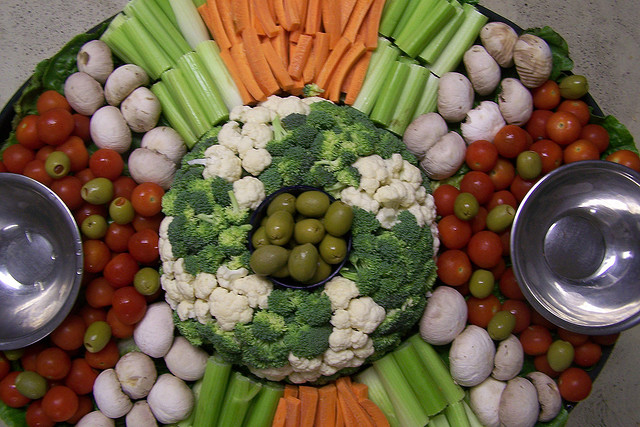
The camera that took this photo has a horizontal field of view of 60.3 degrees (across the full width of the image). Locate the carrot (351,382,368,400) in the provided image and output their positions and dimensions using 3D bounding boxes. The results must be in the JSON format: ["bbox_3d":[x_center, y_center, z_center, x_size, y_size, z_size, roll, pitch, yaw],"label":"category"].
[{"bbox_3d":[0.210,0.936,2.936,0.077,0.076,0.076,-8,118,-5],"label":"carrot"}]

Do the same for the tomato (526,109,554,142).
[{"bbox_3d":[1.195,-0.483,3.021,0.156,0.156,0.155,0,94,9],"label":"tomato"}]

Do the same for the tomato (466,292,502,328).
[{"bbox_3d":[0.896,0.527,3.027,0.203,0.206,0.175,-1,91,41],"label":"tomato"}]

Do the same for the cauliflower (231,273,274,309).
[{"bbox_3d":[-0.314,0.368,2.739,0.172,0.053,0.173,-2,102,0],"label":"cauliflower"}]

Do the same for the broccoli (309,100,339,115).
[{"bbox_3d":[0.019,-0.562,2.885,0.092,0.088,0.030,3,125,2],"label":"broccoli"}]

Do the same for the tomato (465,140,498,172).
[{"bbox_3d":[0.883,-0.314,3.026,0.190,0.183,0.187,4,84,21],"label":"tomato"}]

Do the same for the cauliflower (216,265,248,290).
[{"bbox_3d":[-0.435,0.311,2.704,0.136,0.064,0.102,-21,89,20],"label":"cauliflower"}]

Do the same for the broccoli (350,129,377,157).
[{"bbox_3d":[0.220,-0.374,2.820,0.112,0.052,0.164,-26,83,-5],"label":"broccoli"}]

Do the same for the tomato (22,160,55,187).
[{"bbox_3d":[-1.486,-0.218,2.929,0.137,0.138,0.166,-1,96,5],"label":"tomato"}]

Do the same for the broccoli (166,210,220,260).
[{"bbox_3d":[-0.631,0.109,2.801,0.236,0.129,0.231,-16,77,-3],"label":"broccoli"}]

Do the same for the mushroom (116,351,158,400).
[{"bbox_3d":[-0.979,0.829,3.006,0.271,0.151,0.247,-2,37,-8],"label":"mushroom"}]

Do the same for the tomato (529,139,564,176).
[{"bbox_3d":[1.223,-0.316,3.038,0.177,0.177,0.175,-8,82,2],"label":"tomato"}]

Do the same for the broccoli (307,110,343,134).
[{"bbox_3d":[0.034,-0.485,2.848,0.161,0.110,0.058,37,84,27],"label":"broccoli"}]

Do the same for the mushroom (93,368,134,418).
[{"bbox_3d":[-1.097,0.962,2.980,0.216,0.127,0.228,-17,90,38],"label":"mushroom"}]

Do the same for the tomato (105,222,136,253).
[{"bbox_3d":[-1.074,0.118,2.983,0.146,0.147,0.177,9,96,16],"label":"tomato"}]

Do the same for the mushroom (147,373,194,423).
[{"bbox_3d":[-0.793,0.996,2.973,0.239,0.131,0.240,11,89,6],"label":"mushroom"}]

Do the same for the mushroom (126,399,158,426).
[{"bbox_3d":[-0.948,1.078,2.993,0.127,0.066,0.128,-12,72,9],"label":"mushroom"}]

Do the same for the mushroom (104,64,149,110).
[{"bbox_3d":[-1.050,-0.712,3.040,0.112,0.229,0.227,45,106,20],"label":"mushroom"}]

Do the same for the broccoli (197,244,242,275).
[{"bbox_3d":[-0.503,0.204,2.758,0.137,0.073,0.167,36,100,4],"label":"broccoli"}]

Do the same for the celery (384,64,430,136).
[{"bbox_3d":[0.484,-0.618,3.137,0.165,0.151,0.511,14,102,-15],"label":"celery"}]

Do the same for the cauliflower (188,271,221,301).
[{"bbox_3d":[-0.574,0.356,2.741,0.133,0.039,0.127,8,95,20],"label":"cauliflower"}]

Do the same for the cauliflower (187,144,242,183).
[{"bbox_3d":[-0.520,-0.261,2.771,0.207,0.102,0.159,5,84,23],"label":"cauliflower"}]

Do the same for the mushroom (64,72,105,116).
[{"bbox_3d":[-1.285,-0.653,3.014,0.178,0.127,0.228,-1,102,8],"label":"mushroom"}]

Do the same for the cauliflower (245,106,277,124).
[{"bbox_3d":[-0.304,-0.514,2.878,0.164,0.059,0.104,-10,82,-3],"label":"cauliflower"}]

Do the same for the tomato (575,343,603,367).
[{"bbox_3d":[1.452,0.763,2.981,0.122,0.119,0.124,1,94,10],"label":"tomato"}]

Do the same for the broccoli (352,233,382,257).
[{"bbox_3d":[0.228,0.156,2.696,0.131,0.031,0.119,-5,81,-2],"label":"broccoli"}]

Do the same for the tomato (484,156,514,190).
[{"bbox_3d":[0.989,-0.222,3.073,0.159,0.161,0.160,4,82,18],"label":"tomato"}]

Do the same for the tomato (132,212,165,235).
[{"bbox_3d":[-0.931,0.054,2.984,0.119,0.119,0.116,0,85,-16],"label":"tomato"}]

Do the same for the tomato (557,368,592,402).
[{"bbox_3d":[1.363,0.902,3.013,0.168,0.180,0.174,7,99,36],"label":"tomato"}]

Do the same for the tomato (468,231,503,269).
[{"bbox_3d":[0.878,0.185,2.929,0.182,0.091,0.184,40,82,5],"label":"tomato"}]

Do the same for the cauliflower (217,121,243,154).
[{"bbox_3d":[-0.459,-0.403,2.830,0.133,0.059,0.162,12,81,0],"label":"cauliflower"}]

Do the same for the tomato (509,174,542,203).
[{"bbox_3d":[1.088,-0.147,2.984,0.150,0.150,0.182,7,106,11],"label":"tomato"}]

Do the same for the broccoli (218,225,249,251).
[{"bbox_3d":[-0.422,0.123,2.747,0.122,0.062,0.122,30,83,9],"label":"broccoli"}]

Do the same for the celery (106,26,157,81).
[{"bbox_3d":[-1.030,-0.892,3.059,0.107,0.107,0.362,-44,91,5],"label":"celery"}]

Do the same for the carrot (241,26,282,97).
[{"bbox_3d":[-0.352,-0.776,3.013,0.347,0.100,0.068,-43,88,21],"label":"carrot"}]

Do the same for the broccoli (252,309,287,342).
[{"bbox_3d":[-0.237,0.550,2.693,0.149,0.045,0.148,21,98,0],"label":"broccoli"}]

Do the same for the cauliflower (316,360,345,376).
[{"bbox_3d":[0.044,0.795,2.817,0.097,0.098,0.039,-14,74,1],"label":"cauliflower"}]

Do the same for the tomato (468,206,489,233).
[{"bbox_3d":[0.854,0.038,3.013,0.113,0.113,0.110,-25,97,10],"label":"tomato"}]

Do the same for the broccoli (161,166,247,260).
[{"bbox_3d":[-0.589,-0.013,2.747,0.428,0.178,0.441,-35,77,8],"label":"broccoli"}]

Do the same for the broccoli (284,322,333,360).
[{"bbox_3d":[-0.055,0.629,2.722,0.236,0.077,0.183,1,81,-2],"label":"broccoli"}]

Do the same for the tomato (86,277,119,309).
[{"bbox_3d":[-1.168,0.423,2.944,0.147,0.151,0.175,-2,85,3],"label":"tomato"}]

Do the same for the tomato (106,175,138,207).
[{"bbox_3d":[-1.033,-0.132,2.994,0.149,0.154,0.178,1,93,2],"label":"tomato"}]

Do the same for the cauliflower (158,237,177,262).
[{"bbox_3d":[-0.777,0.184,2.827,0.040,0.088,0.124,-1,89,-42],"label":"cauliflower"}]

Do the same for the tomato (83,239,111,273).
[{"bbox_3d":[-1.176,0.219,2.933,0.158,0.158,0.183,2,96,8],"label":"tomato"}]

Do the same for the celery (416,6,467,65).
[{"bbox_3d":[0.676,-1.005,3.053,0.100,0.128,0.385,43,89,-18],"label":"celery"}]

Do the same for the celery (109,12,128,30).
[{"bbox_3d":[-1.138,-1.092,3.118,0.086,0.029,0.103,42,90,-3],"label":"celery"}]

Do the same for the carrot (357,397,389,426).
[{"bbox_3d":[0.293,1.041,2.950,0.047,0.151,0.158,-45,109,-36],"label":"carrot"}]

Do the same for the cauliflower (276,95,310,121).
[{"bbox_3d":[-0.148,-0.563,2.934,0.138,0.054,0.137,-16,81,-2],"label":"cauliflower"}]

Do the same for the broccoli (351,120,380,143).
[{"bbox_3d":[0.252,-0.443,2.875,0.124,0.122,0.038,23,126,-25],"label":"broccoli"}]

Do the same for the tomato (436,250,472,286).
[{"bbox_3d":[0.699,0.277,2.935,0.179,0.180,0.180,-1,99,5],"label":"tomato"}]

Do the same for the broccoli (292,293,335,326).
[{"bbox_3d":[-0.023,0.464,2.666,0.154,0.044,0.161,23,86,-2],"label":"broccoli"}]

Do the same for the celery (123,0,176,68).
[{"bbox_3d":[-0.940,-0.998,3.065,0.108,0.079,0.467,-42,91,-9],"label":"celery"}]

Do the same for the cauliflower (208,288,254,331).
[{"bbox_3d":[-0.437,0.466,2.713,0.199,0.060,0.201,-15,102,16],"label":"cauliflower"}]

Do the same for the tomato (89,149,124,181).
[{"bbox_3d":[-1.130,-0.262,3.016,0.175,0.162,0.170,-3,89,6],"label":"tomato"}]

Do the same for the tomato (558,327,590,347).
[{"bbox_3d":[1.364,0.673,2.968,0.166,0.057,0.077,16,81,1],"label":"tomato"}]

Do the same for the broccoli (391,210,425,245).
[{"bbox_3d":[0.435,0.069,2.745,0.154,0.083,0.158,1,77,-23],"label":"broccoli"}]
